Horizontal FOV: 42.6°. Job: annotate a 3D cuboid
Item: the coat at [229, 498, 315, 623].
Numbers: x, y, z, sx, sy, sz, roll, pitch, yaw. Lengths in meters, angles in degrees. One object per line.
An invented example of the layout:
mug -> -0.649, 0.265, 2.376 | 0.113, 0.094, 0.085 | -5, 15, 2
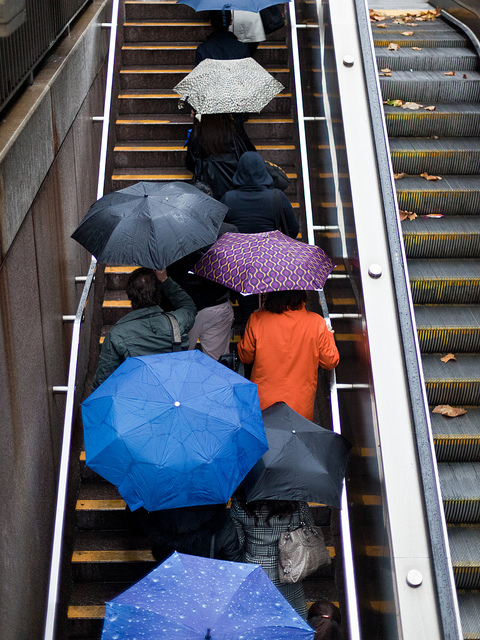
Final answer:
coat -> 0.153, 1.202, 3.133 | 0.424, 0.963, 0.307 | -5, 31, 4

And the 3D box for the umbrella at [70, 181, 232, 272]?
umbrella -> -0.545, -0.567, 3.479 | 0.610, 0.210, 0.628 | -21, 52, -16

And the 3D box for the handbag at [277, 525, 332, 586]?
handbag -> 0.318, 1.078, 2.943 | 0.290, 0.280, 0.108 | 2, -15, -41

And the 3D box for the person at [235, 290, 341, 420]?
person -> 0.297, 0.278, 3.770 | 0.567, 1.375, 0.451 | 3, 35, 3

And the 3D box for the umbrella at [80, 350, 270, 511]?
umbrella -> -0.287, 0.466, 2.684 | 0.791, 0.315, 0.635 | -3, 31, -11

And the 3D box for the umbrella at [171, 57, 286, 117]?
umbrella -> -0.050, -1.740, 4.608 | 0.721, 0.319, 0.645 | -12, 34, -24
